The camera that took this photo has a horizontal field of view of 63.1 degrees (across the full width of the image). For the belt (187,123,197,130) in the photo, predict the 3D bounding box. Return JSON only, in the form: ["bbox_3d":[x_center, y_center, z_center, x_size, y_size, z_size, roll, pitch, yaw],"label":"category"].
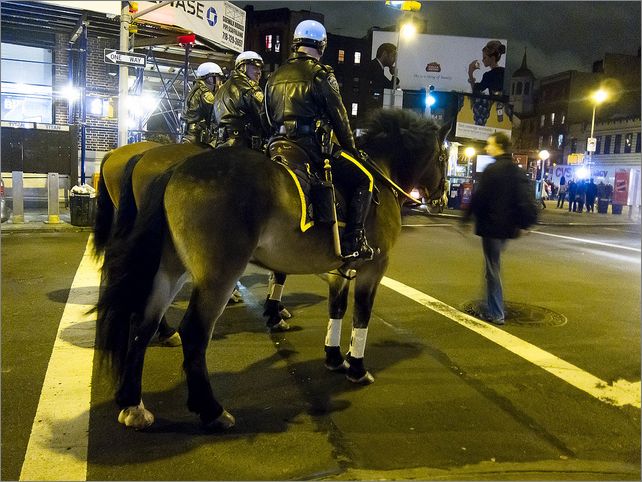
[{"bbox_3d":[-2.199,-1.954,8.902,0.115,0.113,0.109,3,7,7],"label":"belt"}]

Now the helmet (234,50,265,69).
[{"bbox_3d":[-1.131,-2.777,7.956,0.377,0.281,0.345,5,17,7],"label":"helmet"}]

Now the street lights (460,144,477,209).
[{"bbox_3d":[8.520,-3.577,29.919,0.851,3.424,0.850,-2,29,0],"label":"street lights"}]

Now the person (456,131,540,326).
[{"bbox_3d":[2.848,-0.274,8.388,0.952,2.905,0.924,-6,13,-40],"label":"person"}]

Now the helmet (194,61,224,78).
[{"bbox_3d":[-1.914,-2.945,8.850,0.346,0.278,0.312,-15,30,-17],"label":"helmet"}]

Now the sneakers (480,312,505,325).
[{"bbox_3d":[2.667,1.199,8.166,0.135,0.110,0.332,-1,2,-33],"label":"sneakers"}]

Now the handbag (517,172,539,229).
[{"bbox_3d":[3.437,-0.695,8.577,0.278,0.534,0.982,0,13,8],"label":"handbag"}]

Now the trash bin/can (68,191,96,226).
[{"bbox_3d":[-7.129,-0.961,15.792,0.875,0.937,0.865,4,0,-33],"label":"trash bin/can"}]
